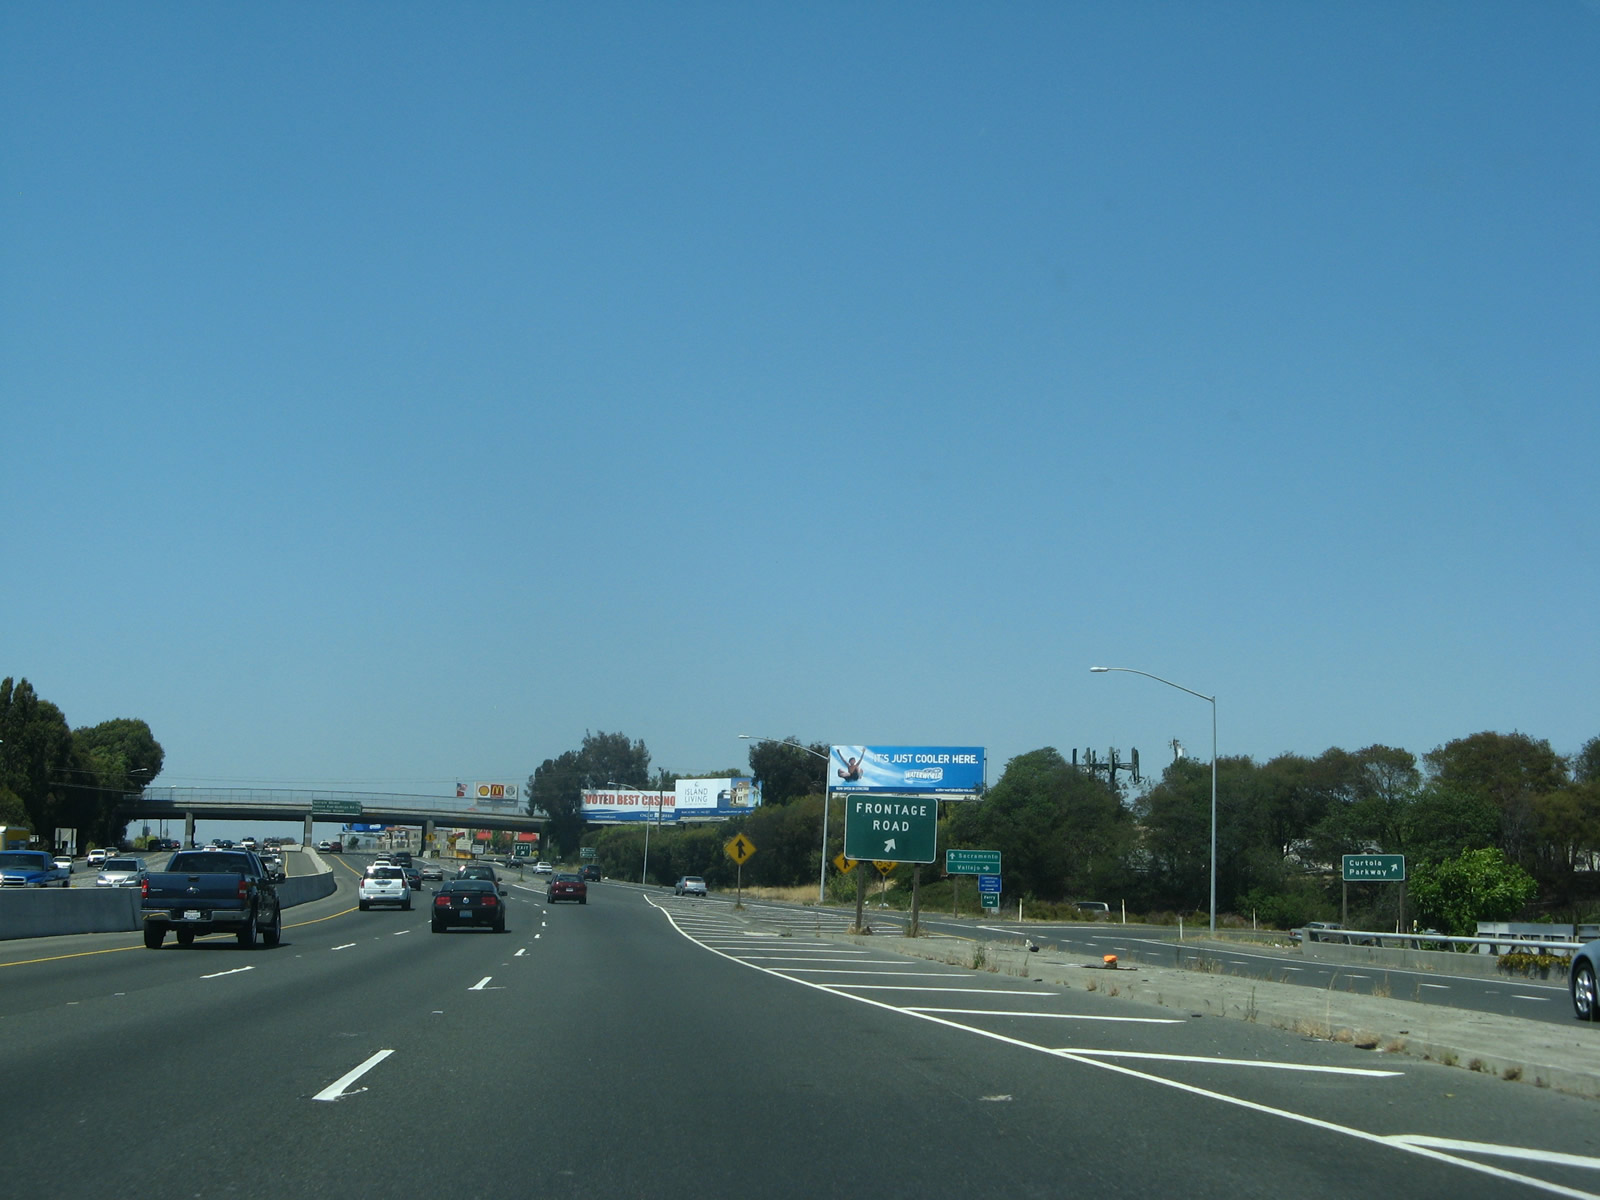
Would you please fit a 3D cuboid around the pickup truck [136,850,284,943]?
[{"bbox_3d":[-13.507,6.823,48.540,2.603,2.173,5.582,0,-7,-2],"label":"pickup truck"}]
